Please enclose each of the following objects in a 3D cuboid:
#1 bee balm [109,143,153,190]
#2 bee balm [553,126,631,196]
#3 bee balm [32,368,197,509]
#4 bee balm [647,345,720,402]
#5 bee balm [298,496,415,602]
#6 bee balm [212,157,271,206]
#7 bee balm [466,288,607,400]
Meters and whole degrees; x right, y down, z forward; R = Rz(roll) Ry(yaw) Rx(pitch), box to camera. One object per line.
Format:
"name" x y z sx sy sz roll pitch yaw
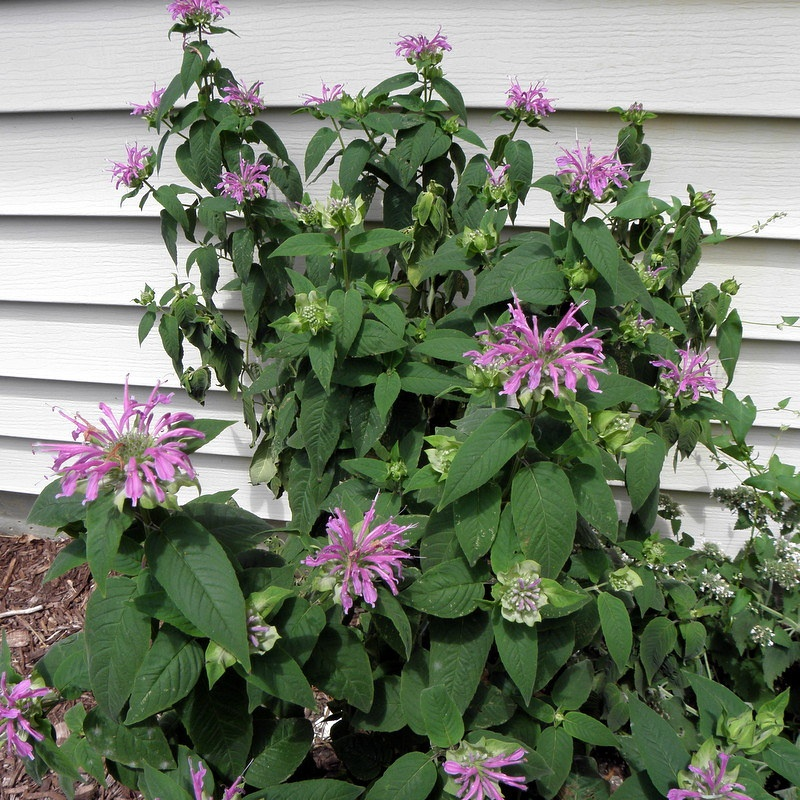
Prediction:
"bee balm" -1.037 -0.920 3.233 0.120 0.195 0.214 10 -11 -32
"bee balm" 0.559 -0.664 2.416 0.197 0.178 0.123 3 -9 6
"bee balm" -0.644 0.164 2.003 0.353 0.337 0.157 25 -30 9
"bee balm" 0.910 -0.074 2.694 0.198 0.200 0.133 14 -18 21
"bee balm" -0.098 0.404 2.177 0.300 0.263 0.126 6 -19 -11
"bee balm" -0.556 -0.798 3.075 0.178 0.181 0.110 47 -11 19
"bee balm" 0.326 -0.141 2.040 0.335 0.136 0.315 7 16 -36
